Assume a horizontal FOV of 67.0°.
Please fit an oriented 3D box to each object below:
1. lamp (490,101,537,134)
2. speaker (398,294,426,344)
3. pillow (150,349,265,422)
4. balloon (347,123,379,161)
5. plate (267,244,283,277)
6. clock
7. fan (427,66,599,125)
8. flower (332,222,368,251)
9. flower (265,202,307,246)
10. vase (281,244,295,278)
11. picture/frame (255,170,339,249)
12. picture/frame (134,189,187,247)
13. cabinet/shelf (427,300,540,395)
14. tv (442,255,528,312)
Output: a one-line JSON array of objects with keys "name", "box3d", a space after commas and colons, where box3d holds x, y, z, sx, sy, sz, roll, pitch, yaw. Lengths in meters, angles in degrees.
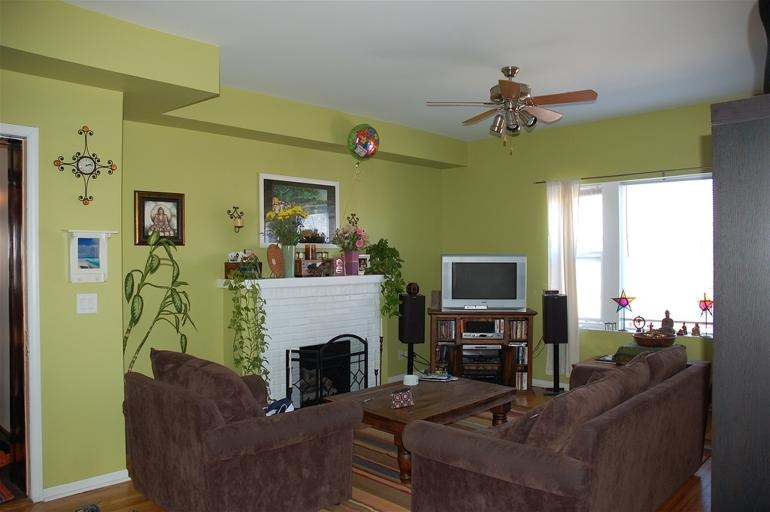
[{"name": "lamp", "box3d": [1.076, -1.182, 5.068, 0.281, 0.129, 0.287, -5, -6, 35]}, {"name": "speaker", "box3d": [0.318, 0.771, 7.128, 0.306, 0.516, 0.164, -1, -1, -3]}, {"name": "pillow", "box3d": [-1.218, 0.932, 4.094, 0.942, 0.364, 0.436, 15, 4, 31]}, {"name": "balloon", "box3d": [-0.272, -1.259, 6.496, 0.365, 0.427, 0.358, 5, -3, -9]}, {"name": "plate", "box3d": [-1.189, 0.046, 6.270, 0.235, 0.305, 0.072, 5, -16, -31]}, {"name": "clock", "box3d": [-2.478, -0.751, 4.797, 0.456, 0.655, 0.050, -1, -1, -38]}, {"name": "fan", "box3d": [1.176, -1.291, 4.913, 0.889, 0.375, 0.966, 3, -8, -13]}, {"name": "flower", "box3d": [-0.405, -0.229, 6.616, 0.315, 0.279, 0.307, 0, 2, -29]}, {"name": "flower", "box3d": [-1.061, -0.338, 6.344, 0.492, 0.485, 0.479, -2, -4, 15]}, {"name": "vase", "box3d": [-1.022, 0.056, 6.164, 0.128, 0.265, 0.169, -1, -1, -13]}, {"name": "picture/frame", "box3d": [-0.987, -0.491, 6.669, 0.055, 0.835, 1.233, 3, 4, 41]}, {"name": "picture/frame", "box3d": [-2.255, -0.380, 5.750, 0.622, 0.683, 0.050, 0, -1, -37]}, {"name": "cabinet/shelf", "box3d": [1.207, 1.203, 7.028, 1.396, 1.072, 0.575, -5, -6, 37]}, {"name": "tv", "box3d": [1.268, 0.166, 7.604, 1.226, 0.793, 0.662, -1, -5, 7]}]
